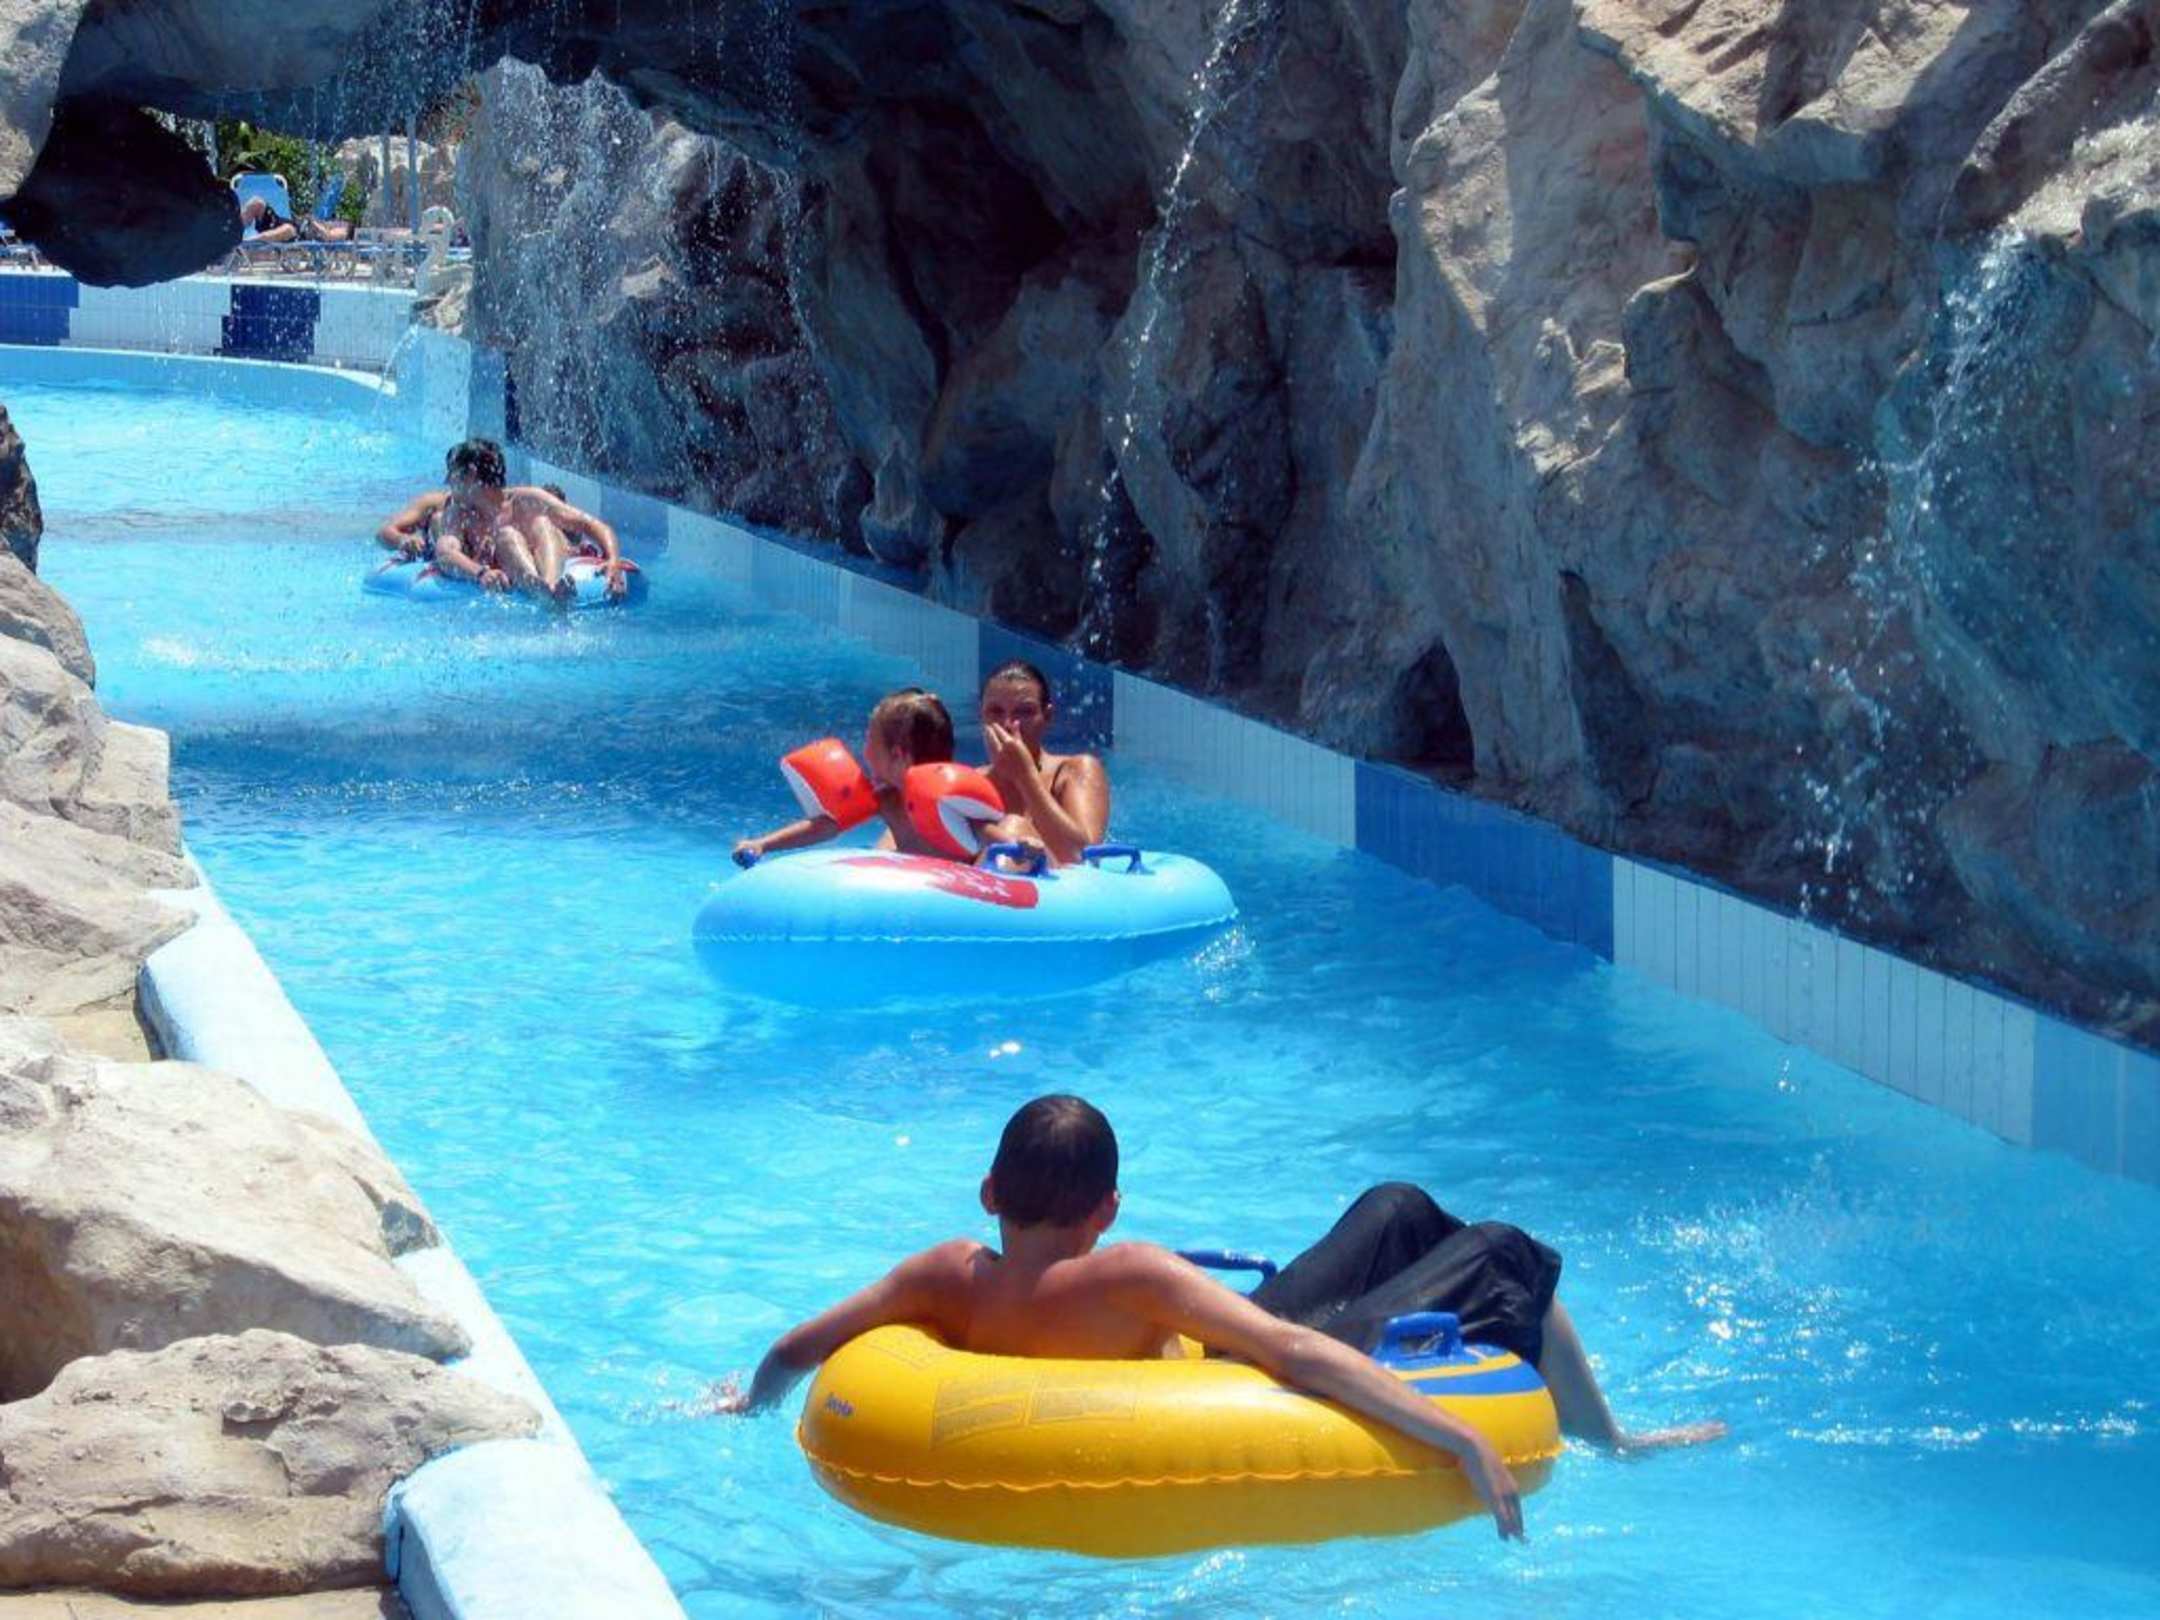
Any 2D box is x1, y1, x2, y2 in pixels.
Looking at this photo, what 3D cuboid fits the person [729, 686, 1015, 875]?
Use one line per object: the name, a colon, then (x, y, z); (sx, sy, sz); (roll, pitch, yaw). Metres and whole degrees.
person: (-0.633, -0.218, 7.724); (0.753, 0.468, 0.534); (-9, 21, 32)
